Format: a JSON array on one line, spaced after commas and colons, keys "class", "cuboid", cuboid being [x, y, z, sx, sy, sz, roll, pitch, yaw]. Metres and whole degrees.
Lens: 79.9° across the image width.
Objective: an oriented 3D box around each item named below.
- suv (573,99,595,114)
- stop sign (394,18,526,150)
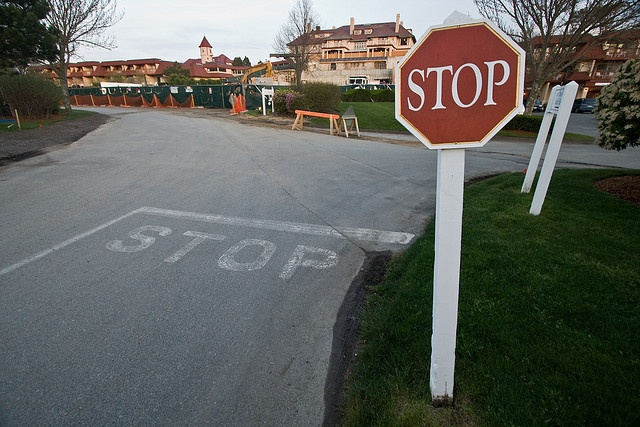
[{"class": "suv", "cuboid": [26.646, -10.780, 38.505, 0.929, 1.472, 3.409, 3, 21, 10]}, {"class": "stop sign", "cuboid": [1.458, -1.327, 3.993, 1.226, 1.217, 0.376, -2, 20, -2]}]
